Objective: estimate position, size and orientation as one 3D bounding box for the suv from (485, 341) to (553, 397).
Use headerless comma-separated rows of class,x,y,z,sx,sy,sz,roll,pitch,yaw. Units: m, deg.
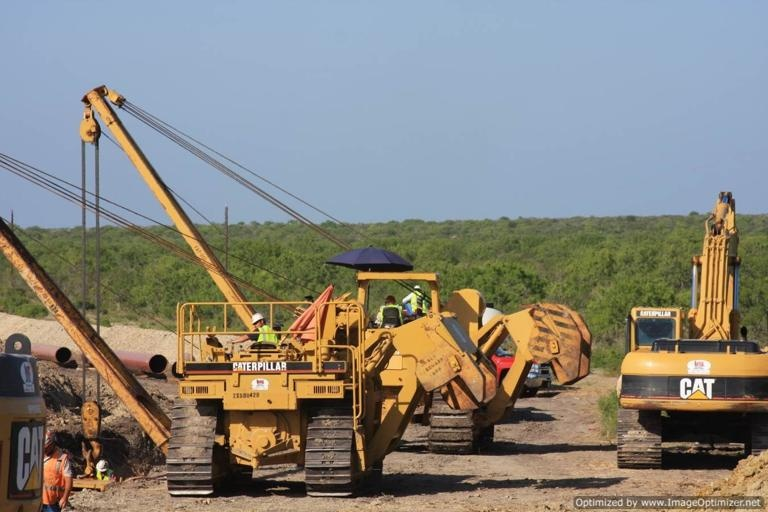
suv,4.426,3.943,52.420,2.637,1.478,1.788,-1,0,11
